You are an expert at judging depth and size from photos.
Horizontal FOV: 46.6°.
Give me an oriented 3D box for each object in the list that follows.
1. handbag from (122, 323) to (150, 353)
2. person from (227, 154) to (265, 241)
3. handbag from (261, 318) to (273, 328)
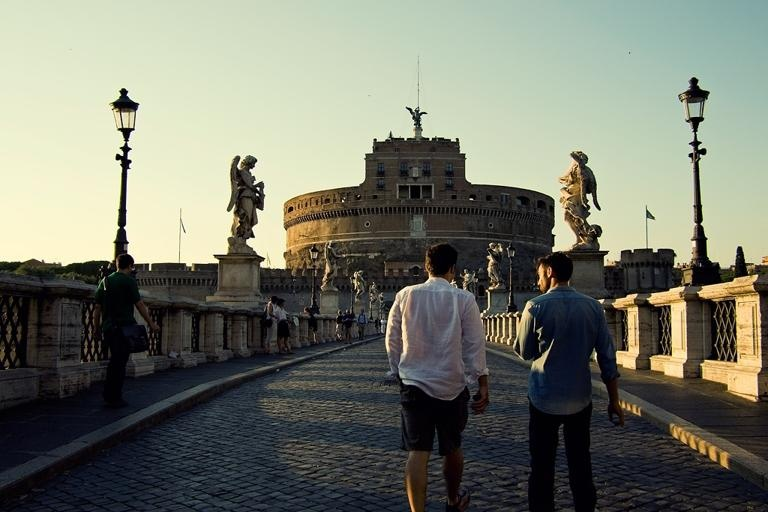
[{"bbox_3d":[-3.596,1.208,13.103,0.248,0.409,0.471,-2,-3,28],"label":"handbag"},{"bbox_3d":[-3.874,-1.628,25.235,0.912,2.395,0.511,-1,-3,-10],"label":"person"},{"bbox_3d":[-3.139,1.797,24.377,0.235,0.289,0.318,6,13,22],"label":"handbag"}]
